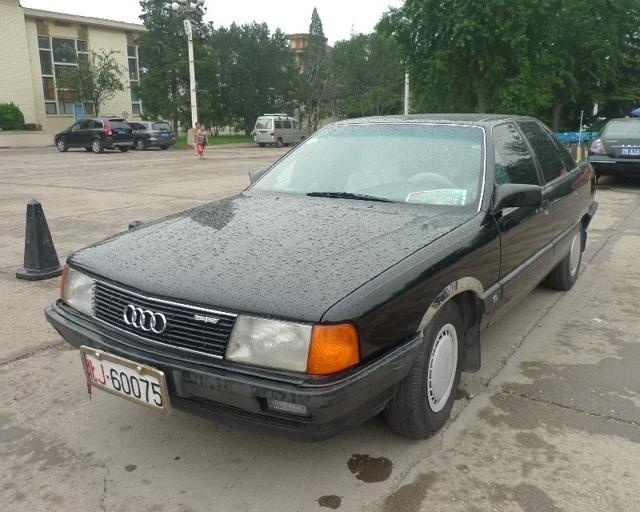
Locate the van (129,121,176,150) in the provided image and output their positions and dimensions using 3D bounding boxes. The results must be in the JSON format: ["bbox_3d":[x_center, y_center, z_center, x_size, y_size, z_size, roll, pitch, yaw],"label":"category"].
[{"bbox_3d":[-9.811,-7.060,29.157,1.292,1.023,2.740,-12,22,-40],"label":"van"}]

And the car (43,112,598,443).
[{"bbox_3d":[0.178,0.031,3.127,3.137,1.742,1.608,-14,19,-40],"label":"car"}]
